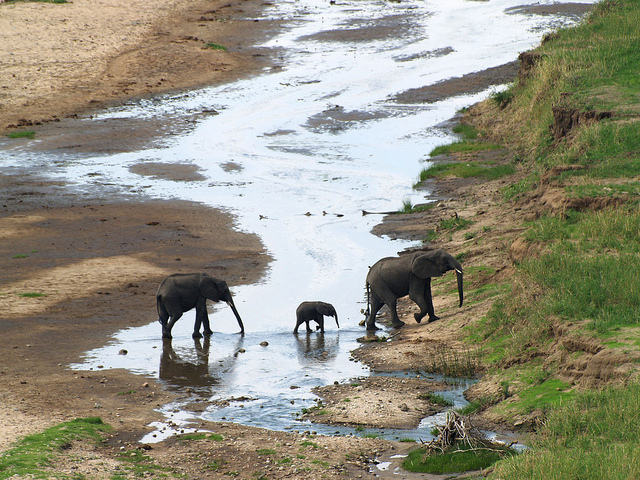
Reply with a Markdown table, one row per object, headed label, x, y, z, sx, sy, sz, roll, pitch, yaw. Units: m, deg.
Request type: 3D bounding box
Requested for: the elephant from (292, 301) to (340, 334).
| label | x | y | z | sx | sy | sz | roll | pitch | yaw |
| --- | --- | --- | --- | --- | --- | --- | --- | --- | --- |
| elephant | -0.174 | 3.486 | 55.465 | 2.114 | 1.380 | 0.995 | -2 | 7 | -3 |
